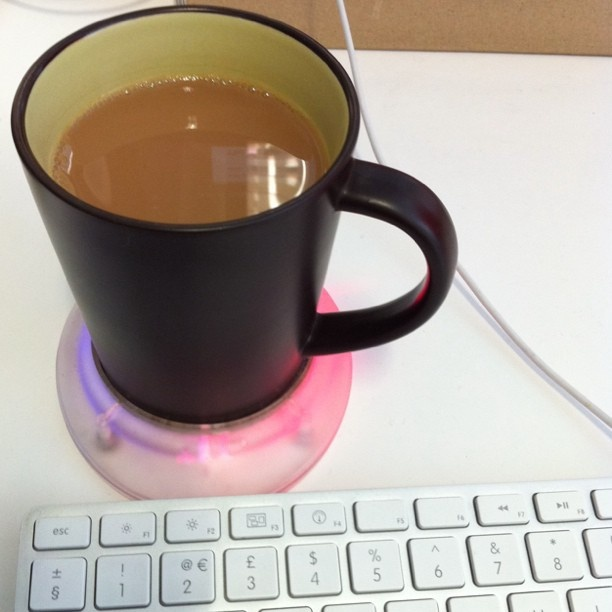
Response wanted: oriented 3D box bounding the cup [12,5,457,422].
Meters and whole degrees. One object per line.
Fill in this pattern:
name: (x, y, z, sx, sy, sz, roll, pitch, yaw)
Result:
cup: (-0.033, -0.031, 0.302, 0.156, 0.167, 0.153, 1, 53, -1)
